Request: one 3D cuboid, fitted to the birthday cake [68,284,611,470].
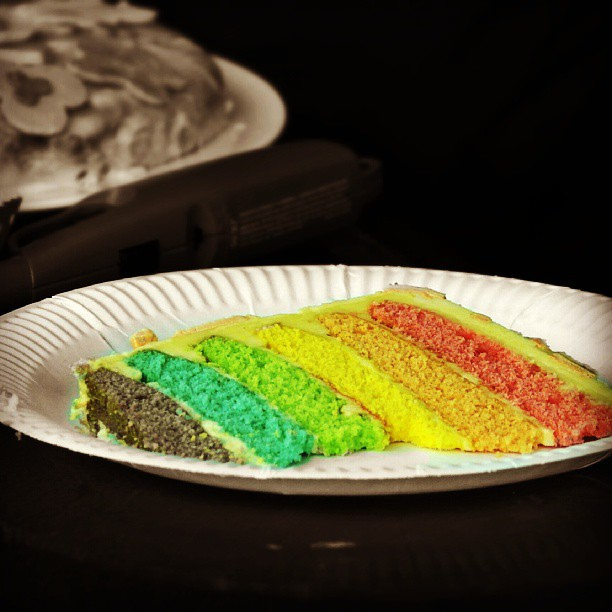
[{"bbox_3d":[0.057,0.093,1.010,0.746,0.148,0.397,-3,43,-17],"label":"birthday cake"}]
